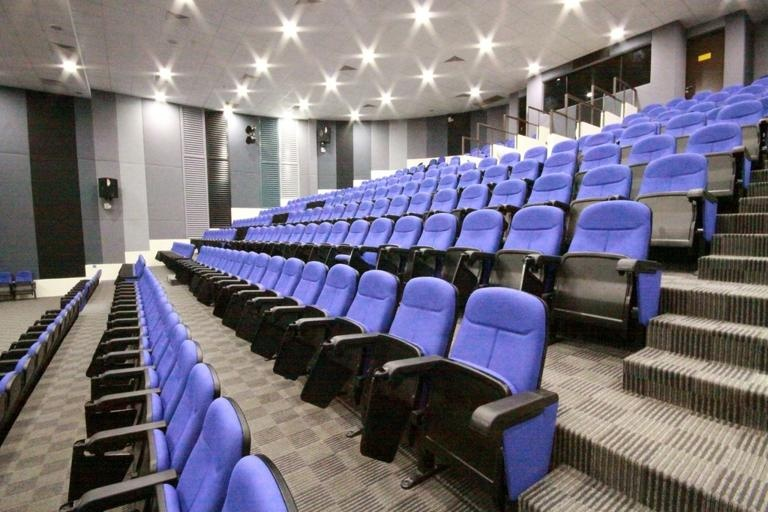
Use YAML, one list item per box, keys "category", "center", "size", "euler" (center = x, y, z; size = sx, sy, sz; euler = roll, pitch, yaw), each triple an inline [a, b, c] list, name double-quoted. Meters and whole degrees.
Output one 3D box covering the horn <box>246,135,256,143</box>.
- category: "horn"
  center: [-3.637, -3.195, 12.136]
  size: [0.168, 0.195, 0.243]
  euler: [-9, -21, 12]
